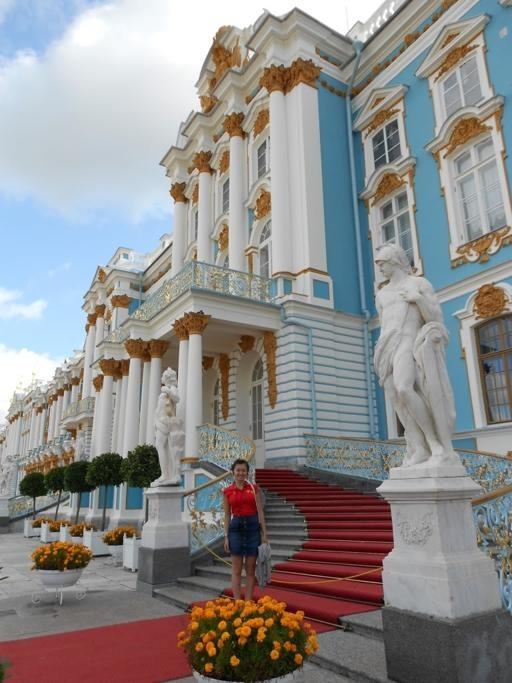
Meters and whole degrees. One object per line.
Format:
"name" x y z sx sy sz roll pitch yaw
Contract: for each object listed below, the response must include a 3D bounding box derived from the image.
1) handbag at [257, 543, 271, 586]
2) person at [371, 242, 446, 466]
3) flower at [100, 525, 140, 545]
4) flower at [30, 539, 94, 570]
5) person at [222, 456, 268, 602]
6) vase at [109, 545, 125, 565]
"handbag" 0.071 2.026 4.525 0.129 0.360 0.109 6 -15 -13
"person" 1.280 0.004 4.182 0.604 2.002 0.516 -9 -18 24
"flower" -3.450 4.865 12.607 0.849 0.496 0.832 0 -13 -1
"flower" -2.805 3.042 7.323 0.596 0.301 0.587 0 -13 8
"person" -0.118 1.835 4.917 0.396 1.324 0.515 -1 -16 -3
"vase" -3.435 5.201 12.198 0.258 0.434 0.511 10 -20 -36
